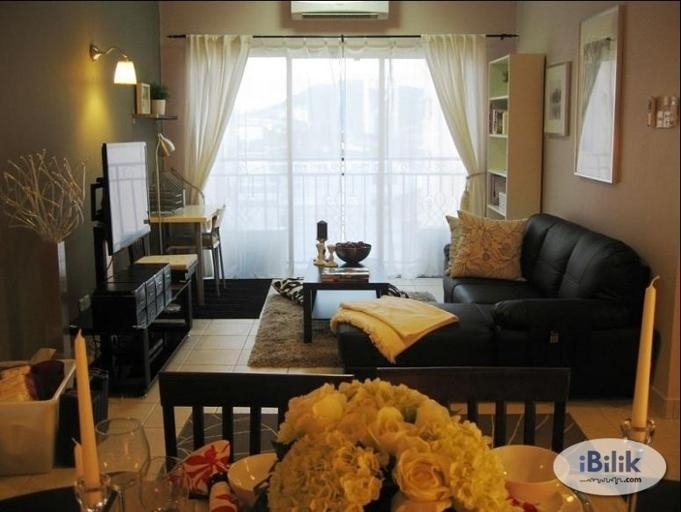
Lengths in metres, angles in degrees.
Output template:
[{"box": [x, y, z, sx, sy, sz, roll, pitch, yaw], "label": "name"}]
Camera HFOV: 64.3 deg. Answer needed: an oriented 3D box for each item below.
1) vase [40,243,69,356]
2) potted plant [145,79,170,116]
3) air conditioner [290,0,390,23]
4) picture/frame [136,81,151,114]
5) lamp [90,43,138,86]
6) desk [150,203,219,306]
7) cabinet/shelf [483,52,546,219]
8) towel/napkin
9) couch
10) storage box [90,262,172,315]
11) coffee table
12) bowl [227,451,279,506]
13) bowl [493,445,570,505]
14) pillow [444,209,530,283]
[{"box": [-1.805, 0.269, 3.406, 0.162, 0.726, 0.156, -3, 9, -16], "label": "vase"}, {"box": [-1.863, -1.605, 5.565, 0.232, 0.289, 0.188, 7, 6, 34], "label": "potted plant"}, {"box": [-0.006, -2.529, 5.600, 0.989, 0.136, 0.227, -1, 8, -2], "label": "air conditioner"}, {"box": [-1.949, -1.542, 5.345, 0.157, 0.319, 0.289, -3, 9, -19], "label": "picture/frame"}, {"box": [-1.889, -1.608, 4.545, 0.359, 0.299, 0.201, 0, 18, -16], "label": "lamp"}, {"box": [-1.458, -0.025, 5.046, 0.469, 0.583, 0.938, 0, 14, -2], "label": "desk"}, {"box": [1.776, -1.186, 5.558, 0.382, 1.621, 0.837, -1, 8, -2], "label": "cabinet/shelf"}, {"box": [0.319, 0.404, 3.494, 0.485, 0.151, 0.477, -14, 20, -33], "label": "towel/napkin"}, {"box": [1.186, 0.370, 3.527, 1.274, 0.648, 1.463, 1, 7, 6], "label": "couch"}, {"box": [-1.396, 0.249, 3.695, 0.263, 0.302, 0.704, 0, 8, 1], "label": "storage box"}, {"box": [-0.007, 0.410, 4.363, 0.512, 0.406, 0.783, 0, 13, -3], "label": "coffee table"}, {"box": [-0.205, 0.501, 1.246, 0.146, 0.069, 0.149, 0, 7, 0], "label": "bowl"}, {"box": [0.416, 0.466, 1.174, 0.173, 0.100, 0.178, 1, -4, 0], "label": "bowl"}, {"box": [1.253, -0.067, 4.550, 0.611, 0.600, 0.242, 5, -8, 19], "label": "pillow"}]
